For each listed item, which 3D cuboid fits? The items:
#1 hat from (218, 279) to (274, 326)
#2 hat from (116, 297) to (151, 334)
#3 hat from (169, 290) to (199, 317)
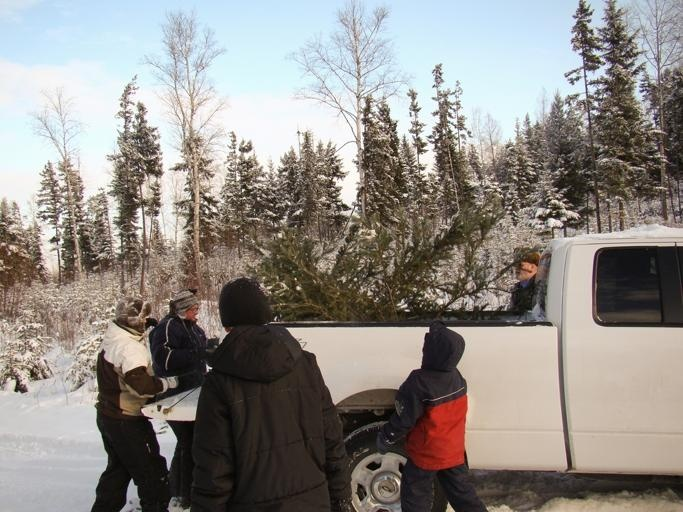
[{"bbox_3d":[-0.899,0.411,5.629,0.448,0.487,0.439,-3,15,-3],"label":"hat"},{"bbox_3d":[-2.352,0.708,7.152,0.285,0.433,0.409,-3,-22,18],"label":"hat"},{"bbox_3d":[-2.052,0.616,8.105,0.363,0.354,0.290,1,2,-4],"label":"hat"}]
